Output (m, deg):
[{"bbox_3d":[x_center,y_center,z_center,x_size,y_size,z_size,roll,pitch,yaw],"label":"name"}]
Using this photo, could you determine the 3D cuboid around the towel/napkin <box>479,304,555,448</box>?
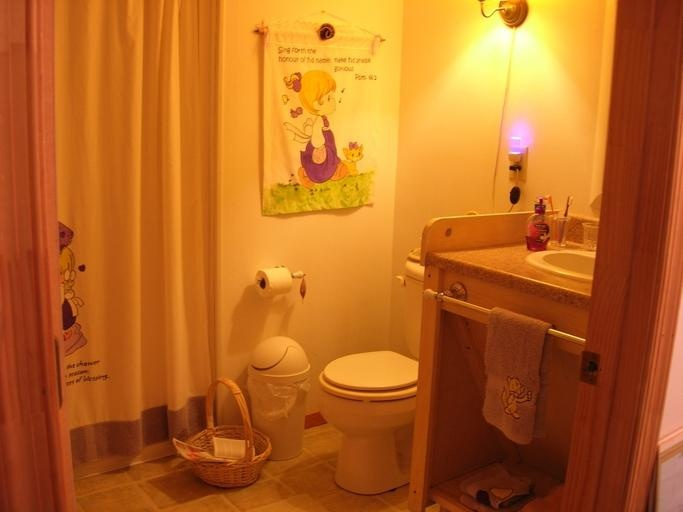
[{"bbox_3d":[0.547,0.383,1.896,0.057,0.402,0.205,-8,17,-35],"label":"towel/napkin"}]

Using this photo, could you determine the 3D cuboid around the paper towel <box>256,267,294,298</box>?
[{"bbox_3d":[-0.311,0.121,2.939,0.213,0.126,0.193,-3,14,-20],"label":"paper towel"}]

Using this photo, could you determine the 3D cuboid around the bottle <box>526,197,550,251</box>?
[{"bbox_3d":[0.743,-0.116,2.232,0.081,0.190,0.115,1,14,-3],"label":"bottle"}]

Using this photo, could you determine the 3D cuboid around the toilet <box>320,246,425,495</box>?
[{"bbox_3d":[0.121,0.775,2.739,0.430,0.561,0.378,3,14,5],"label":"toilet"}]

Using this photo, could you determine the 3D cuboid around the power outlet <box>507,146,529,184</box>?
[{"bbox_3d":[0.769,-0.401,2.622,0.042,0.147,0.099,-13,16,-31],"label":"power outlet"}]

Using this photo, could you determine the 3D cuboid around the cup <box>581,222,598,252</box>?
[{"bbox_3d":[0.945,-0.071,2.259,0.045,0.093,0.071,5,14,14],"label":"cup"}]
